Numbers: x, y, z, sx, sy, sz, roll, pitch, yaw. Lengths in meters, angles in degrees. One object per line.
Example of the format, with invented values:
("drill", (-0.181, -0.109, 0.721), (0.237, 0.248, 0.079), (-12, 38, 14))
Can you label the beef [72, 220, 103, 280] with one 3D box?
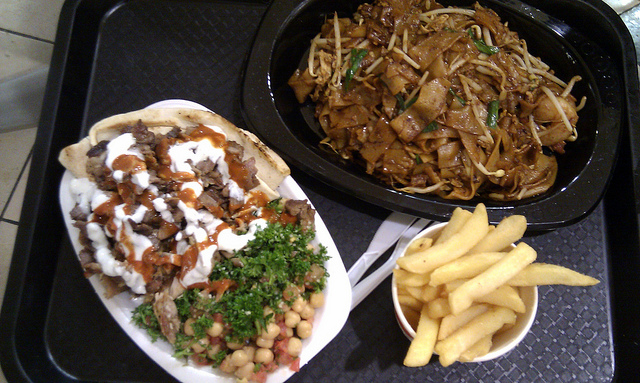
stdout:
("beef", (-1.414, 0.339, 3.323), (0.129, 0.073, 0.351), (-19, 86, -3))

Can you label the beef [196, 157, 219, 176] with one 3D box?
("beef", (-0.690, -0.150, 3.317), (0.096, 0.022, 0.085), (-32, 87, -4))

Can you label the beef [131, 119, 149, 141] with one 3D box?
("beef", (-1.107, -0.379, 3.367), (0.098, 0.029, 0.123), (-3, 68, -5))

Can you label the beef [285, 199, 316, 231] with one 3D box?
("beef", (-0.122, 0.136, 3.391), (0.161, 0.067, 0.183), (-33, 81, -19))

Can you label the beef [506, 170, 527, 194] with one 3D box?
("beef", (1.257, -0.066, 3.562), (0.102, 0.052, 0.139), (29, 93, -19))

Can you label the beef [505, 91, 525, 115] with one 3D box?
("beef", (1.242, -0.568, 3.499), (0.136, 0.041, 0.130), (-5, 99, -21))

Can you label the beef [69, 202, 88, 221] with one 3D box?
("beef", (-1.464, 0.120, 3.349), (0.115, 0.082, 0.115), (3, 85, -1))

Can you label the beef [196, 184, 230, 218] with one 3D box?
("beef", (-0.622, 0.060, 3.307), (0.195, 0.053, 0.189), (55, 50, -20))

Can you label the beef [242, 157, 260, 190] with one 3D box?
("beef", (-0.421, -0.109, 3.356), (0.147, 0.041, 0.150), (-28, 107, -50))

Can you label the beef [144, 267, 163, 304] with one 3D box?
("beef", (-0.999, 0.560, 3.304), (0.052, 0.131, 0.211), (12, 76, 37))

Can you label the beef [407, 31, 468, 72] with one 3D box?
("beef", (0.744, -0.923, 3.478), (0.369, 0.113, 0.197), (-39, 67, -4))

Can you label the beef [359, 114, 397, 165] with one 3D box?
("beef", (0.373, -0.320, 3.460), (0.204, 0.169, 0.280), (-2, 116, 5))
